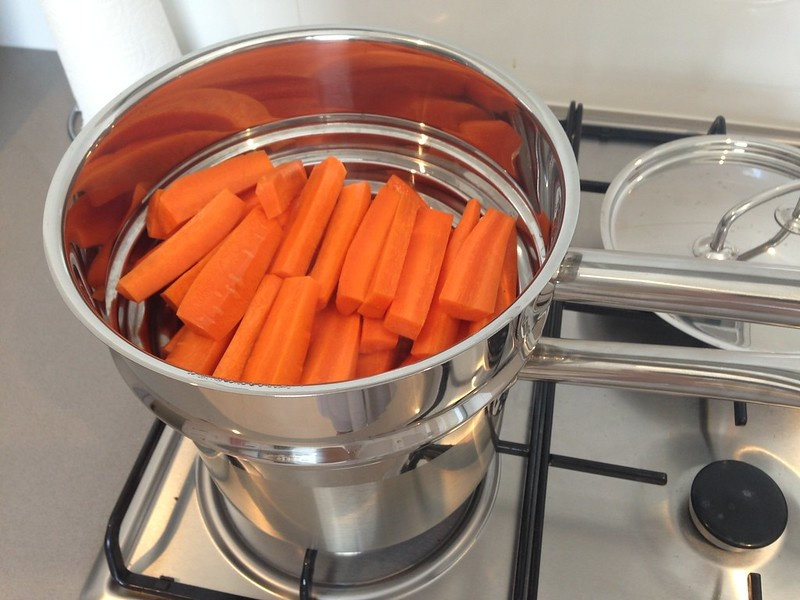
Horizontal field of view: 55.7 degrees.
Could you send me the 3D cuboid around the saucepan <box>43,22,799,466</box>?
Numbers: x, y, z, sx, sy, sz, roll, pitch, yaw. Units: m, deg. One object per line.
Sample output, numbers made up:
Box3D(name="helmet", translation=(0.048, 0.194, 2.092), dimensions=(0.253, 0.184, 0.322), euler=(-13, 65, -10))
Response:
Box3D(name="saucepan", translation=(0.044, -0.076, 0.866), dimensions=(0.812, 0.336, 0.452), euler=(-9, 45, -3))
